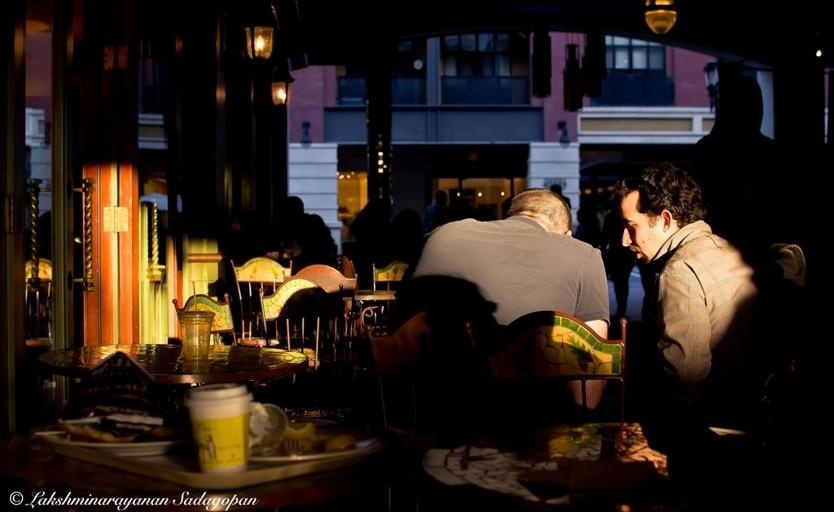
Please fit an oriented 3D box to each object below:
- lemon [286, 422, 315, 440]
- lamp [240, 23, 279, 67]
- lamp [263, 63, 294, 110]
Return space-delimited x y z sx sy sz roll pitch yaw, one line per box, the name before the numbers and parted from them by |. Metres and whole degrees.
lemon | -0.848 1.250 8.165 0.132 0.048 0.134 1 1 41
lamp | -1.782 -2.448 13.117 0.361 0.412 0.359 5 5 -1
lamp | -1.814 -2.237 14.898 0.314 0.560 0.280 -4 11 -33
